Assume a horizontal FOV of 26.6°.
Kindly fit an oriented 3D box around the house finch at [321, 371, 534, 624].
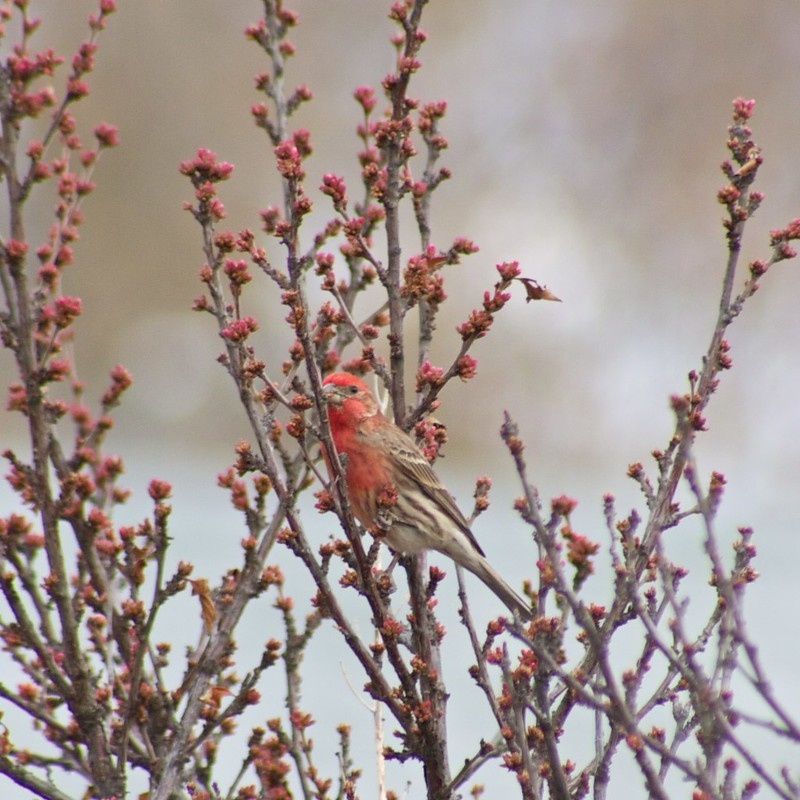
[{"bbox_3d":[0.022,0.447,7.430,0.329,1.111,0.598,-28,-27,-30],"label":"house finch"}]
